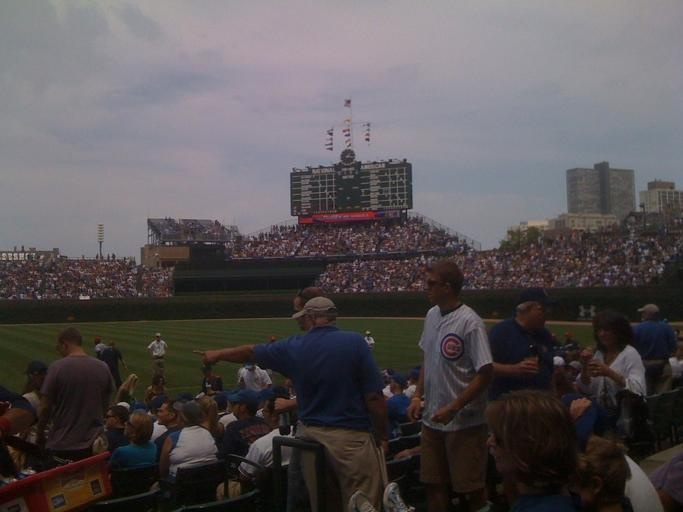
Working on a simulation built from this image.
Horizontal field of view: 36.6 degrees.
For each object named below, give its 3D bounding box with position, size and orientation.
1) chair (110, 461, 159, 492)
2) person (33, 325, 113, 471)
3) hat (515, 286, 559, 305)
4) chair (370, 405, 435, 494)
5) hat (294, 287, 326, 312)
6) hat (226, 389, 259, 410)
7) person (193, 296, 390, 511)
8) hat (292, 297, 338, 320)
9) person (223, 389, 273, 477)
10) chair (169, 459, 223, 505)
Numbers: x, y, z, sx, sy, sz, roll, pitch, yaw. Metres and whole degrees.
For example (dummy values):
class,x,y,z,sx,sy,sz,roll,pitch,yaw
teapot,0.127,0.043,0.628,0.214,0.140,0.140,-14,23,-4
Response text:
class,x,y,z,sx,sy,sz,roll,pitch,yaw
chair,-2.618,2.724,12.760,0.388,0.512,0.379,2,1,-34
person,-3.480,2.149,13.308,0.974,2.459,0.884,-2,15,-32
hat,2.391,0.477,12.506,0.342,0.161,0.239,-4,1,5
chair,0.828,2.595,12.961,0.755,0.665,0.696,-9,-10,28
hat,-0.368,0.508,12.385,0.357,0.332,0.258,14,4,22
hat,-1.289,1.862,13.430,0.336,0.156,0.226,6,-11,11
person,-0.252,1.639,11.632,1.518,2.414,0.409,-1,-5,1
hat,-0.319,0.591,11.882,0.419,0.177,0.261,-5,-11,5
person,-1.240,2.156,13.428,0.580,0.876,0.680,18,9,40
chair,-1.774,2.817,12.892,0.530,0.676,0.534,2,-5,-32
